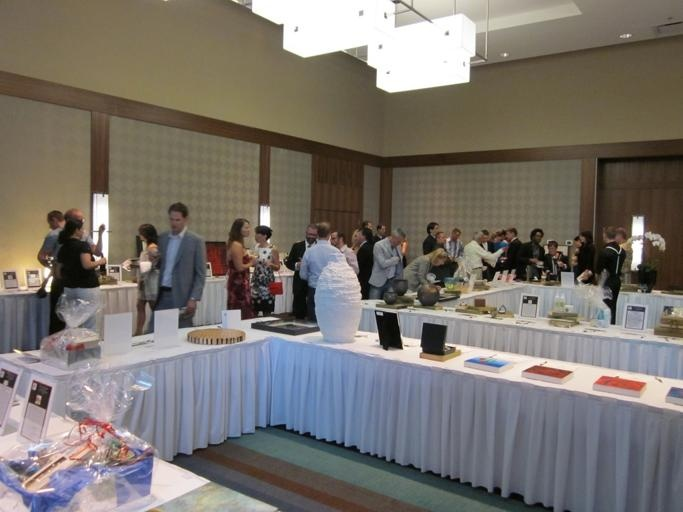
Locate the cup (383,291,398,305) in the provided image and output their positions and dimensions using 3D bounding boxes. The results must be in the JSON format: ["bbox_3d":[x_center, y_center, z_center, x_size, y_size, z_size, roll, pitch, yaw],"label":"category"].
[{"bbox_3d":[0.556,0.457,5.796,0.123,0.111,0.128,-1,4,0],"label":"cup"}]

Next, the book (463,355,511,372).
[{"bbox_3d":[1.034,0.749,3.643,0.299,0.051,0.226,8,11,25],"label":"book"}]

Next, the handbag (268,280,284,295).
[{"bbox_3d":[-0.672,0.307,5.585,0.141,0.186,0.186,-14,-13,43],"label":"handbag"}]

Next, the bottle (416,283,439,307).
[{"bbox_3d":[0.944,0.444,5.747,0.219,0.268,0.222,-5,28,-22],"label":"bottle"}]

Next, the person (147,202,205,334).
[{"bbox_3d":[-1.460,0.263,4.509,0.523,1.427,0.410,5,7,0],"label":"person"}]

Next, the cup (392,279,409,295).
[{"bbox_3d":[0.680,0.347,6.006,0.154,0.179,0.162,0,1,0],"label":"cup"}]
